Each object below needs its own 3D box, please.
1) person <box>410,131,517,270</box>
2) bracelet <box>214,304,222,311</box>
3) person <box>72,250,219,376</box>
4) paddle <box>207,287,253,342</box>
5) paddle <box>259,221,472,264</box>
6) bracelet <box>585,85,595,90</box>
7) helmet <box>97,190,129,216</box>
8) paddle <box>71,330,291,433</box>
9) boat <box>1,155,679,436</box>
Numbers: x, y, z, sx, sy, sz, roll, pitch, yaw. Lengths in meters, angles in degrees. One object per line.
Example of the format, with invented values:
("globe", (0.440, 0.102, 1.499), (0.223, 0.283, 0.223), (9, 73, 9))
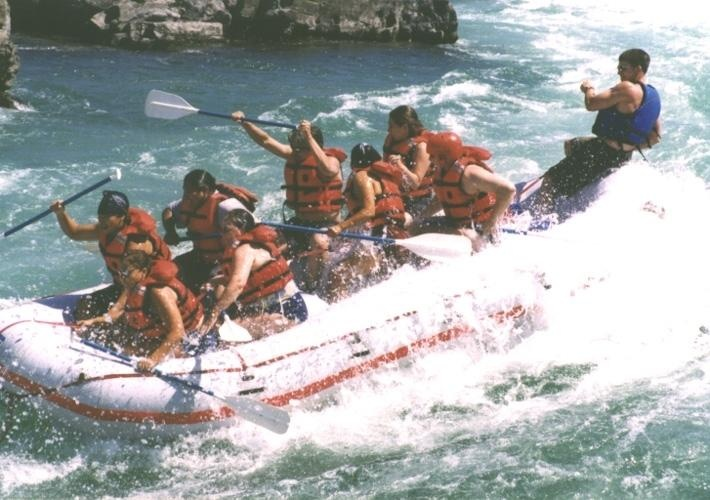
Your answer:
("person", (1.163, -0.629, 10.731), (1.123, 1.481, 1.359), (-22, 27, -33))
("bracelet", (-1.524, 0.648, 9.958), (0.063, 0.062, 0.017), (-33, 9, 17))
("person", (-2.235, 0.681, 9.952), (1.533, 1.806, 1.122), (-6, 35, -25))
("paddle", (-1.446, 0.779, 10.006), (0.327, 0.113, 0.755), (-31, 61, -18))
("paddle", (0.188, -0.079, 10.752), (1.997, 0.217, 0.213), (8, -7, 8))
("bracelet", (2.968, -2.026, 11.256), (0.056, 0.057, 0.158), (25, 29, 39))
("helmet", (-2.742, -0.516, 10.185), (0.338, 0.249, 0.272), (-1, 23, -16))
("paddle", (-1.937, 1.509, 9.985), (3.546, 0.384, 0.156), (17, 6, 0))
("boat", (-0.630, 0.350, 10.174), (5.624, 0.900, 2.663), (-18, 21, -23))
